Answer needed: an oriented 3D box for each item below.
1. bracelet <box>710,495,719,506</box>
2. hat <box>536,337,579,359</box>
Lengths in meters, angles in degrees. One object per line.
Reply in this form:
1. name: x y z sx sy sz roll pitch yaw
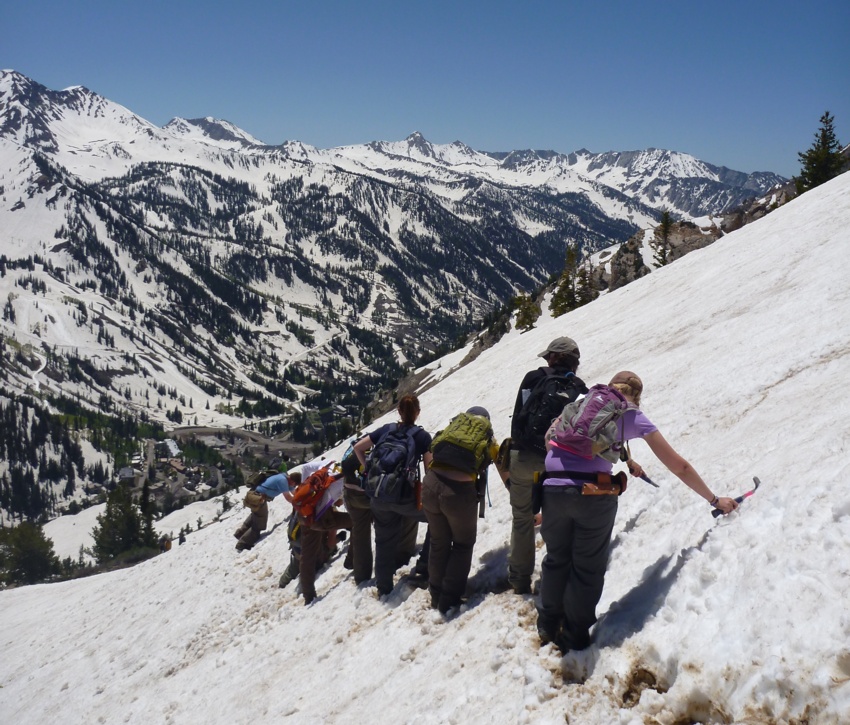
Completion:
1. bracelet: 4.978 2.420 15.716 0.135 0.228 0.152 4 4 -11
2. hat: 2.588 -0.260 17.347 0.549 0.389 0.429 4 -2 38
